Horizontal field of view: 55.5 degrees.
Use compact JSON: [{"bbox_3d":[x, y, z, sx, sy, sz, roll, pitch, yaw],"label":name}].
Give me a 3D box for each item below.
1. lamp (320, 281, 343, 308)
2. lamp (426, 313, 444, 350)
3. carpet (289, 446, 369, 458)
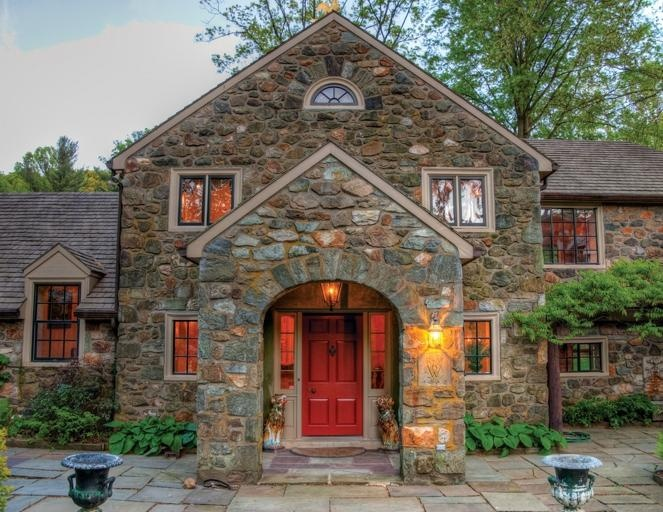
[{"bbox_3d":[-0.004,0.878,14.112,0.505,0.640,0.260,0,9,-7],"label":"lamp"},{"bbox_3d":[1.986,1.407,12.113,0.302,0.682,0.156,2,10,8],"label":"lamp"},{"bbox_3d":[-0.091,4.160,13.496,1.605,0.065,0.605,1,7,0],"label":"carpet"}]
